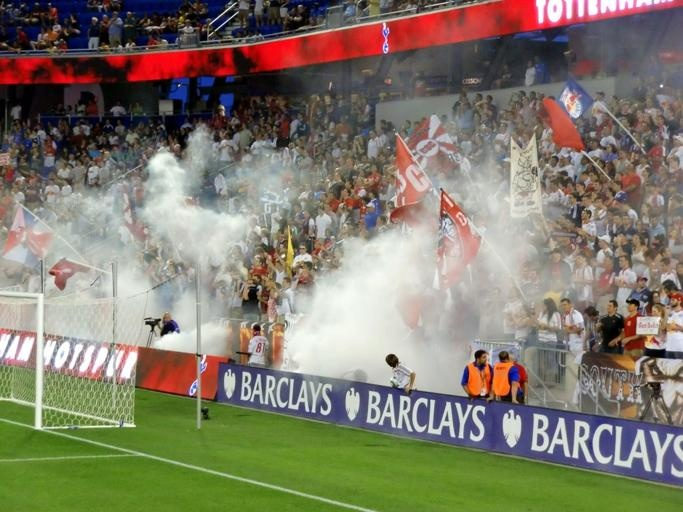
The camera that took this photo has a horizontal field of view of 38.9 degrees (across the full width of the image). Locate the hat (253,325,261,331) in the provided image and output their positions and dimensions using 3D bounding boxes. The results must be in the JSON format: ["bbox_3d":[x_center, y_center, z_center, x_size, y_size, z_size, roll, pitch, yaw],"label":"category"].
[{"bbox_3d":[-1.840,1.582,21.024,0.169,0.099,0.202,-6,14,-22],"label":"hat"}]

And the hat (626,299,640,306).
[{"bbox_3d":[5.320,0.872,17.679,0.198,0.148,0.272,5,14,22],"label":"hat"}]

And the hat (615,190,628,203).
[{"bbox_3d":[5.683,-1.182,19.726,0.224,0.249,0.130,6,-2,26],"label":"hat"}]
